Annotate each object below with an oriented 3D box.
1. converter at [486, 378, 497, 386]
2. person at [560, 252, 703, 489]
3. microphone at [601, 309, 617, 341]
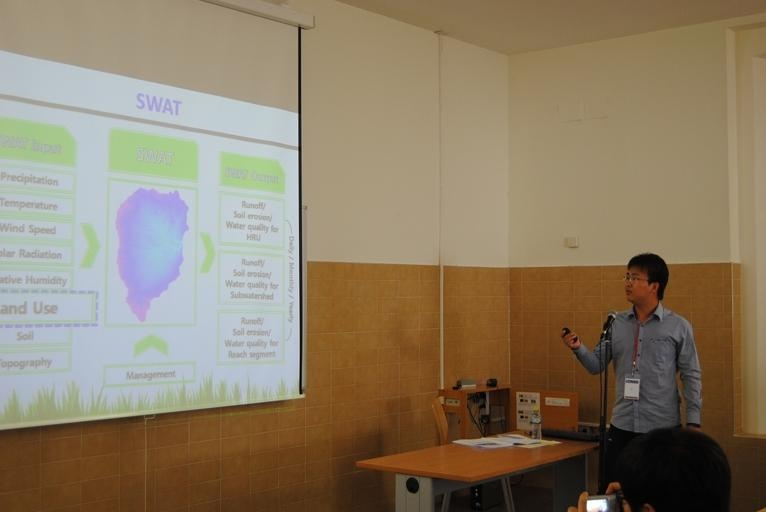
[{"bbox_3d":[1.181,1.361,6.124,0.067,0.084,0.095,-5,-5,21],"label":"converter"},{"bbox_3d":[1.996,1.208,4.439,0.925,2.369,0.617,0,-1,20],"label":"person"},{"bbox_3d":[1.871,0.570,4.656,0.080,0.291,0.076,13,17,15],"label":"microphone"}]
